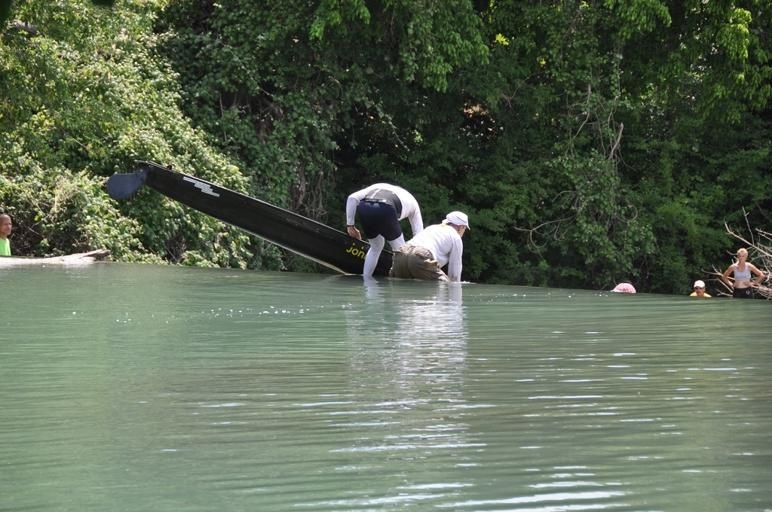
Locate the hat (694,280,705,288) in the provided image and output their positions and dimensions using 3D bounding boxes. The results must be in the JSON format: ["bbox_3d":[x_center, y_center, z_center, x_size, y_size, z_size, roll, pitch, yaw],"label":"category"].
[{"bbox_3d":[4.779,0.443,15.954,0.199,0.105,0.305,1,-1,17],"label":"hat"}]

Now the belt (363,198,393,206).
[{"bbox_3d":[-0.093,-0.666,12.441,0.349,0.069,0.128,7,11,22],"label":"belt"}]

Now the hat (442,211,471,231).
[{"bbox_3d":[0.847,-0.403,12.237,0.219,0.128,0.310,17,-3,32],"label":"hat"}]

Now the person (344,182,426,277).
[{"bbox_3d":[0.026,-0.191,12.843,1.021,1.240,0.872,2,10,-1],"label":"person"}]

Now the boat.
[{"bbox_3d":[-2.304,-0.552,15.983,4.122,0.565,0.798,25,13,-22],"label":"boat"}]
